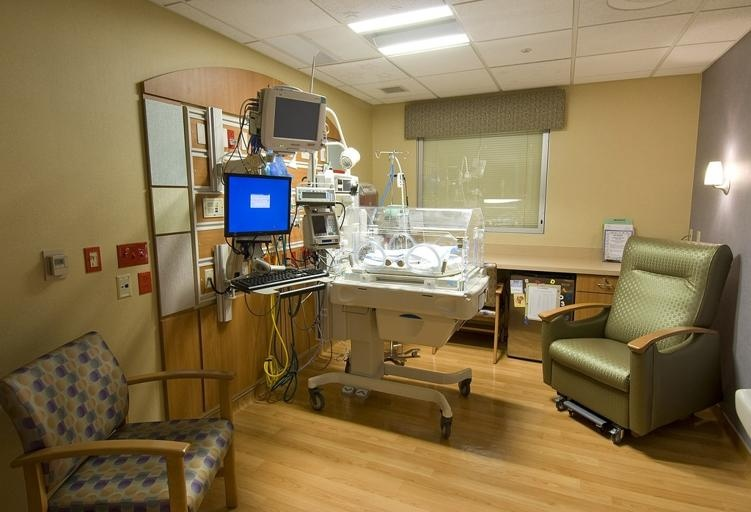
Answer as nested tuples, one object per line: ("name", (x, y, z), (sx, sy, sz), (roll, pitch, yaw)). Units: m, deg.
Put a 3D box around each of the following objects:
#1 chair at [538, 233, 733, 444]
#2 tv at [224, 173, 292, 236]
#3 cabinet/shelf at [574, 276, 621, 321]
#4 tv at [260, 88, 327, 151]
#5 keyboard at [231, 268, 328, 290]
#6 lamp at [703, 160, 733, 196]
("chair", (2.156, 0.627, 4.373), (1.184, 1.515, 0.928), (-4, 11, -27))
("tv", (-0.911, -0.395, 3.974), (0.060, 0.410, 0.469), (3, 5, 38))
("cabinet/shelf", (2.141, 0.497, 5.217), (0.374, 0.566, 0.388), (7, 1, -6))
("tv", (-0.636, -1.050, 4.123), (0.474, 0.482, 0.272), (2, 11, -20))
("keyboard", (-0.750, 0.176, 4.126), (0.750, 0.104, 0.333), (-5, 12, -35))
("lamp", (2.927, -0.631, 4.490), (0.115, 0.233, 0.152), (15, 0, -34))
